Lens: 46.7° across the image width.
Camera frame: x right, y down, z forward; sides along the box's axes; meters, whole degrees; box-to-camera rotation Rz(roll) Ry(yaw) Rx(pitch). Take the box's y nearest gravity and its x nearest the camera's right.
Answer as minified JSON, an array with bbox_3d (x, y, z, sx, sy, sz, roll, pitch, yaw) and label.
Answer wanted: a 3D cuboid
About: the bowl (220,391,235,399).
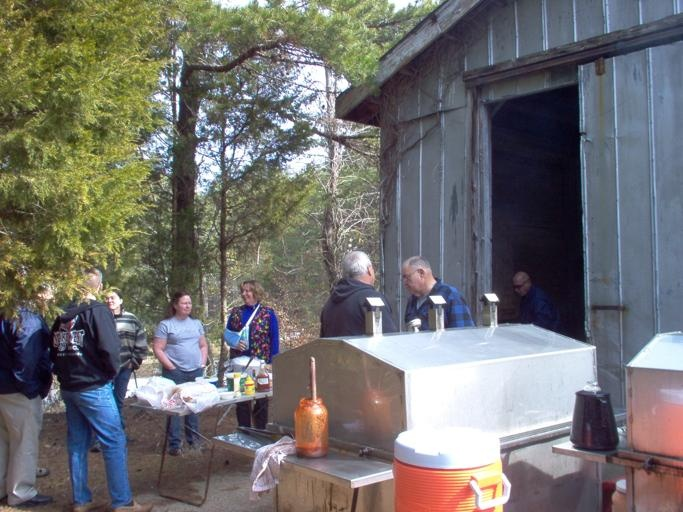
[{"bbox_3d":[-1.112,1.356,7.727,0.145,0.051,0.255,1,-5,-10],"label":"bowl"}]

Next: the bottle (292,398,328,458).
[{"bbox_3d":[-0.214,1.193,5.642,0.320,0.609,0.327,0,-5,0],"label":"bottle"}]

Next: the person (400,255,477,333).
[{"bbox_3d":[0.806,0.333,7.278,0.464,0.662,0.805,2,-5,-30],"label":"person"}]
